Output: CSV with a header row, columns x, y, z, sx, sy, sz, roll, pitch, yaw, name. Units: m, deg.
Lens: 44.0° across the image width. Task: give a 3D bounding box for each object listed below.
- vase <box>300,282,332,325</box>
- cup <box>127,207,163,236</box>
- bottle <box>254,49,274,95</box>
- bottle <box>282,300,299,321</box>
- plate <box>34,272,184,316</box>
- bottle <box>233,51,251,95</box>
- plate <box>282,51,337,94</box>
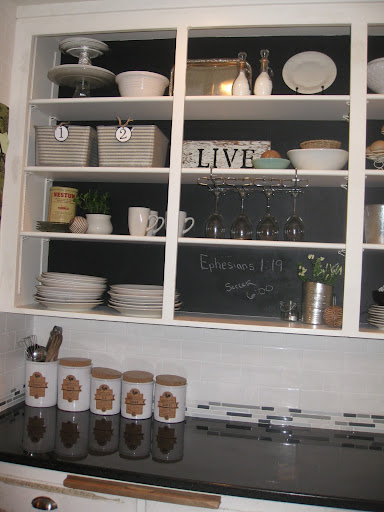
x,y,z,sx,sy,sz,roll,pitch,yaw,name
0.491,0.186,1.858,0.118,0.175,0.129,15,-11,-12,vase
-0.189,-0.143,2.001,0.167,0.121,0.100,5,-1,4,cup
0.292,-0.740,1.921,0.066,0.155,0.133,4,2,7,bottle
0.399,0.223,1.984,0.077,0.090,0.099,6,-12,-12,bottle
-0.367,0.161,1.955,0.399,0.096,0.262,5,-4,2,plate
0.200,-0.725,1.911,0.071,0.146,0.154,4,2,3,bottle
0.489,-0.768,1.989,0.183,0.144,0.121,3,2,-17,plate
